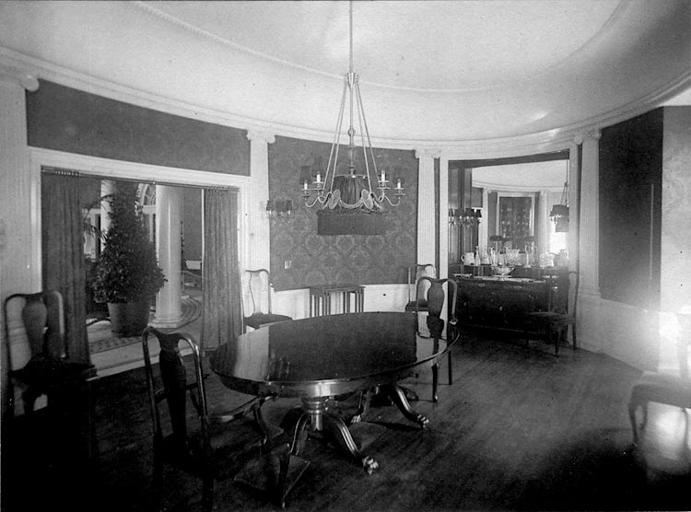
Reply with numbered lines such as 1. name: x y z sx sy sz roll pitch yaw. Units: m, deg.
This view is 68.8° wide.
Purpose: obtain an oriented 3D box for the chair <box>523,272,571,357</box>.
1. chair: 2.932 0.762 7.134 0.593 1.088 0.960 2 9 25

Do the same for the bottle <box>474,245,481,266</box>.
1. bottle: 2.287 -0.005 8.681 0.101 0.240 0.616 0 9 14

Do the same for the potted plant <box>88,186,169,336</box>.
1. potted plant: -3.323 0.042 7.669 1.007 2.306 0.675 -7 10 -30

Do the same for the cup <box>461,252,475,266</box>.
1. cup: 2.092 0.054 8.583 0.210 0.223 0.169 0 4 12

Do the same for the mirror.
1. mirror: 3.371 -0.952 10.265 1.833 1.932 0.676 -1 1 -12

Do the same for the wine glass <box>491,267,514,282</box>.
1. wine glass: 2.493 0.281 8.045 0.246 0.197 0.258 0 -1 -3

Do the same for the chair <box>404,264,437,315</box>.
1. chair: 1.184 0.489 7.814 0.558 0.987 0.648 2 1 -6

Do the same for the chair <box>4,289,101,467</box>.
1. chair: -3.033 1.061 5.148 0.724 1.337 0.983 -7 10 -31

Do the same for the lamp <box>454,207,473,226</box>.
1. lamp: 2.056 -0.681 8.782 0.287 0.264 0.320 -1 0 -1

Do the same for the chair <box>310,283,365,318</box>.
1. chair: -0.123 0.657 7.660 0.750 0.799 0.457 1 -2 -43
